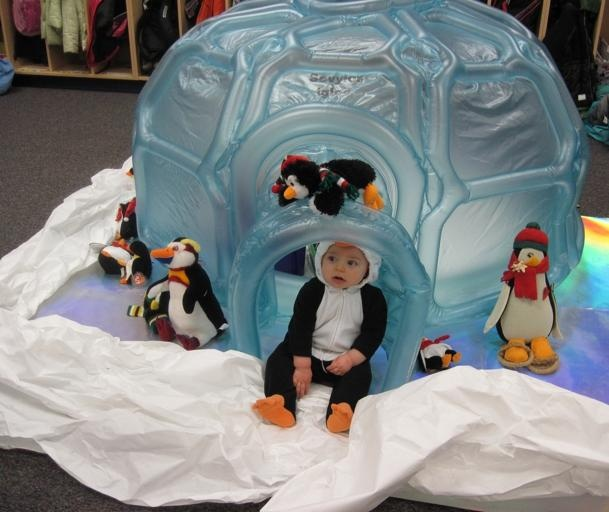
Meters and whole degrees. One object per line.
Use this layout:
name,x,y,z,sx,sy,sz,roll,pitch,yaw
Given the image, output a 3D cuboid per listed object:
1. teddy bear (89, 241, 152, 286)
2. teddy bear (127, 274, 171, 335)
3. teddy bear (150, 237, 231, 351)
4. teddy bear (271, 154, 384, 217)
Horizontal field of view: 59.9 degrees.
teddy bear,-0.624,0.008,1.813,0.204,0.146,0.106,9,18,12
teddy bear,-0.429,0.158,1.613,0.167,0.168,0.076,-12,-28,40
teddy bear,-0.337,0.098,1.531,0.206,0.301,0.205,12,15,44
teddy bear,0.054,-0.179,1.237,0.148,0.091,0.198,11,22,44
